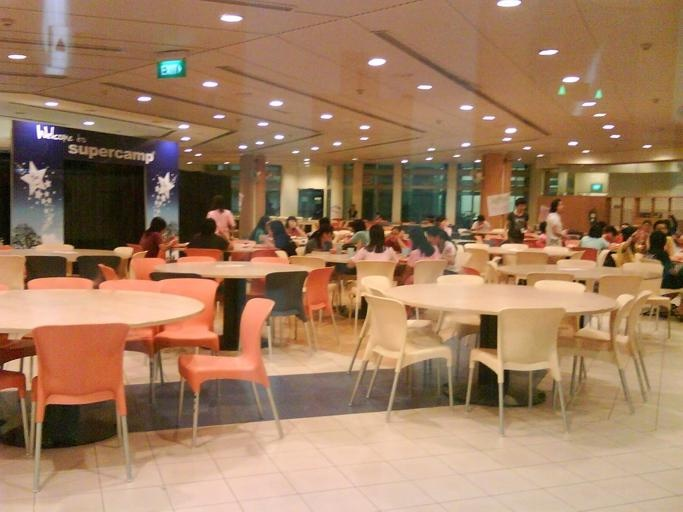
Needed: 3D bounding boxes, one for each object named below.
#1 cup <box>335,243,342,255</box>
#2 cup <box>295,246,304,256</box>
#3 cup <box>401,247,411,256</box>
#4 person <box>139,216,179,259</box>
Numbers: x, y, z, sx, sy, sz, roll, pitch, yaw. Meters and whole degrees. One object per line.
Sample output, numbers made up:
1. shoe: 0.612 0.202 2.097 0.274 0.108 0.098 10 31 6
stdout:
1. cup: -0.007 -0.136 9.604 0.199 0.192 0.209 1 0 0
2. cup: -0.721 -0.086 9.484 0.223 0.140 0.216 0 -1 0
3. cup: 1.119 -0.067 9.358 0.182 0.172 0.173 -1 8 0
4. person: -3.007 -0.220 8.974 0.604 0.769 0.357 -2 27 -34
